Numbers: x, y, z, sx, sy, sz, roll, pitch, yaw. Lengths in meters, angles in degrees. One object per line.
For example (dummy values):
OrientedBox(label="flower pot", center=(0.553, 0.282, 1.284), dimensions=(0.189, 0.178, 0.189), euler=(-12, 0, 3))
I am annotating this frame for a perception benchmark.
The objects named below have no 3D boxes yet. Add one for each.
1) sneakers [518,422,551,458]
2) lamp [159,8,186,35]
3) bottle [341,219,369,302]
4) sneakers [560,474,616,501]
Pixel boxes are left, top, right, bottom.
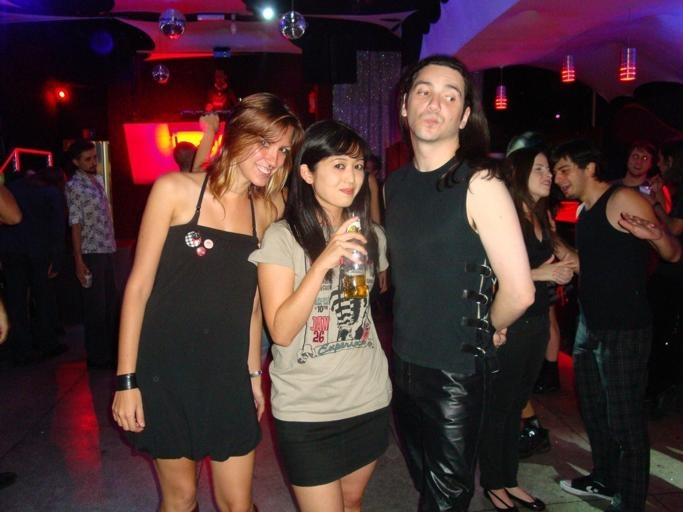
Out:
OrientedBox(label="sneakers", center=(1.514, 1.450, 4.210), dimensions=(0.372, 0.157, 0.155), euler=(5, -8, -35))
OrientedBox(label="lamp", center=(-2.334, -3.218, 7.352), dimensions=(0.312, 0.430, 0.350), euler=(-2, 8, -20))
OrientedBox(label="bottle", center=(0.067, 0.094, 2.793), dimensions=(0.131, 0.267, 0.272), euler=(3, 7, 14))
OrientedBox(label="sneakers", center=(1.747, 1.646, 3.799), dimensions=(0.343, 0.142, 0.131), euler=(7, -8, 17))
